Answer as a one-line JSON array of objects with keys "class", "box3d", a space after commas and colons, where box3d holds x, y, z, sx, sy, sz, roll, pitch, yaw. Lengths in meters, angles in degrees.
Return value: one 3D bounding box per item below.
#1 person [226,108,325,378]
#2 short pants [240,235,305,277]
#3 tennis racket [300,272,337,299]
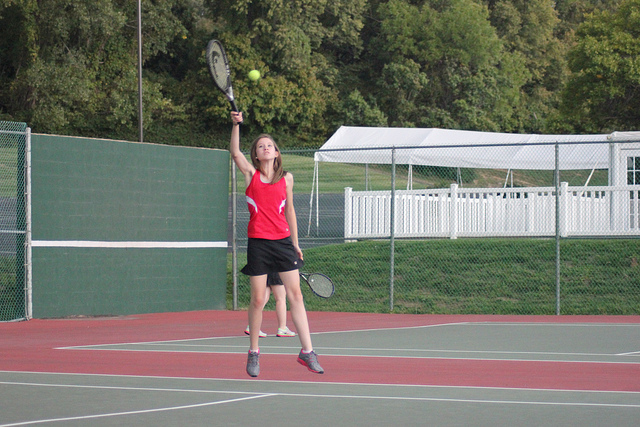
[{"class": "person", "box3d": [-0.632, 0.440, 12.313, 1.173, 3.792, 0.380, 1, 0, -4]}, {"class": "short pants", "box3d": [-0.649, 0.618, 12.299, 0.834, 0.572, 0.188, 1, 0, -6]}, {"class": "tennis racket", "box3d": [0.030, 1.266, 15.454, 0.073, 0.270, 0.955, -15, 30, -39]}]
